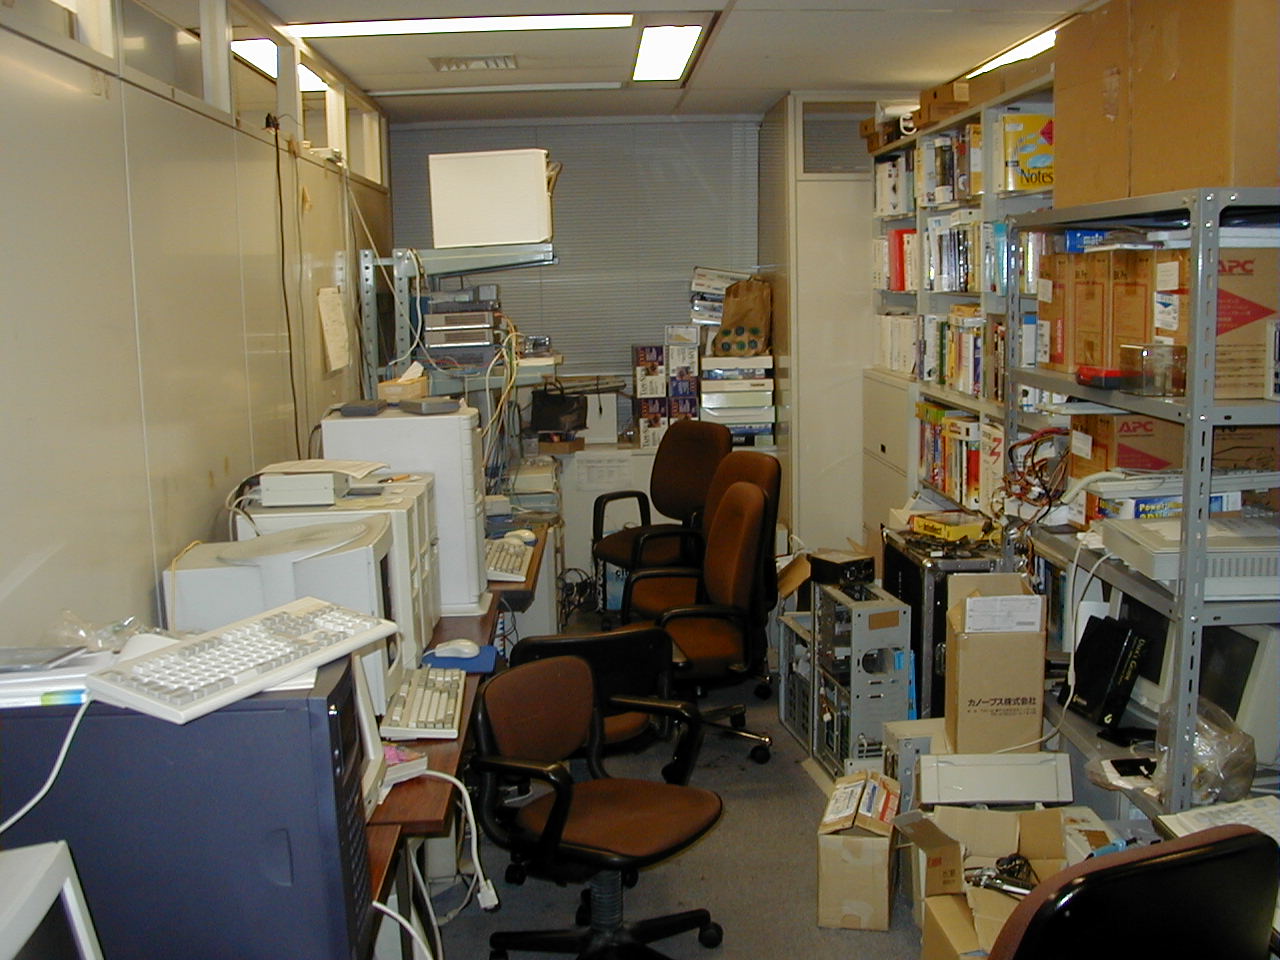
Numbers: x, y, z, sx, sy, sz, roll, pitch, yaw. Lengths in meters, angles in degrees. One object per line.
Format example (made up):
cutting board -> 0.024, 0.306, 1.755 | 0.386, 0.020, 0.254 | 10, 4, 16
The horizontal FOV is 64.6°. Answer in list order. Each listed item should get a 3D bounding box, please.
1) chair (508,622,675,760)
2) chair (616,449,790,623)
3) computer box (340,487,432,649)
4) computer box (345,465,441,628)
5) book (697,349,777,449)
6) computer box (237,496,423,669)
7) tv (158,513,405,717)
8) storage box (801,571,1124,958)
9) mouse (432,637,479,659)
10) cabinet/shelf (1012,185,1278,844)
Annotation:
chair -> -0.178, 0.721, 3.432 | 0.446, 0.573, 0.473 | -3, 13, -13
chair -> 0.330, 0.320, 4.422 | 0.674, 0.848, 0.593 | -3, 20, 20
computer box -> -0.693, 0.230, 2.732 | 0.223, 0.381, 0.401 | -2, 13, -3
computer box -> -0.713, 0.189, 2.886 | 0.239, 0.400, 0.431 | -2, 13, -3
book -> 0.533, -0.542, 6.302 | 0.589, 0.631, 0.441 | 0, 10, 2
computer box -> -0.889, 0.371, 3.075 | 0.413, 0.574, 0.799 | -2, 11, -5
tv -> -0.945, 0.278, 2.714 | 0.539, 0.450, 0.535 | -1, 8, -8
storage box -> 1.210, 0.823, 3.742 | 0.932, 1.976, 0.998 | 0, 2, 23
mouse -> -0.566, 0.510, 3.159 | 0.139, 0.042, 0.151 | 0, 13, 9
cabinet/shelf -> 1.414, -0.044, 2.824 | 0.483, 1.442, 1.177 | -2, 12, -1
